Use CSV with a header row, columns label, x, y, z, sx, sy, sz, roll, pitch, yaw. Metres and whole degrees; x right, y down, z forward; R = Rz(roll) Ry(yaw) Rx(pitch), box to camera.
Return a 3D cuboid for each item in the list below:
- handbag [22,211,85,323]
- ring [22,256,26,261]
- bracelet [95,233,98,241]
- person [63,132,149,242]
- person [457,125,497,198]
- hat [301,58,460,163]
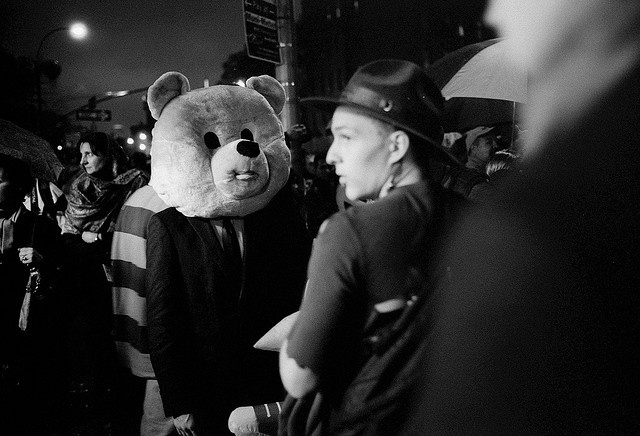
label,x,y,z,sx,sy,sz,roll,pitch,yaw
handbag,-1.985,0.369,4.887,0.214,0.668,0.522,14,-38,-26
ring,-2.096,0.284,4.739,0.018,0.027,0.009,9,14,-10
bracelet,-1.693,0.146,5.081,0.010,0.031,0.042,19,-5,-38
person,-1.621,-0.211,4.993,0.622,0.759,0.444,-13,-14,27
person,1.314,-0.501,5.593,0.375,0.540,0.932,-1,5,20
hat,0.256,-0.389,2.372,0.358,0.187,0.372,21,1,-10
